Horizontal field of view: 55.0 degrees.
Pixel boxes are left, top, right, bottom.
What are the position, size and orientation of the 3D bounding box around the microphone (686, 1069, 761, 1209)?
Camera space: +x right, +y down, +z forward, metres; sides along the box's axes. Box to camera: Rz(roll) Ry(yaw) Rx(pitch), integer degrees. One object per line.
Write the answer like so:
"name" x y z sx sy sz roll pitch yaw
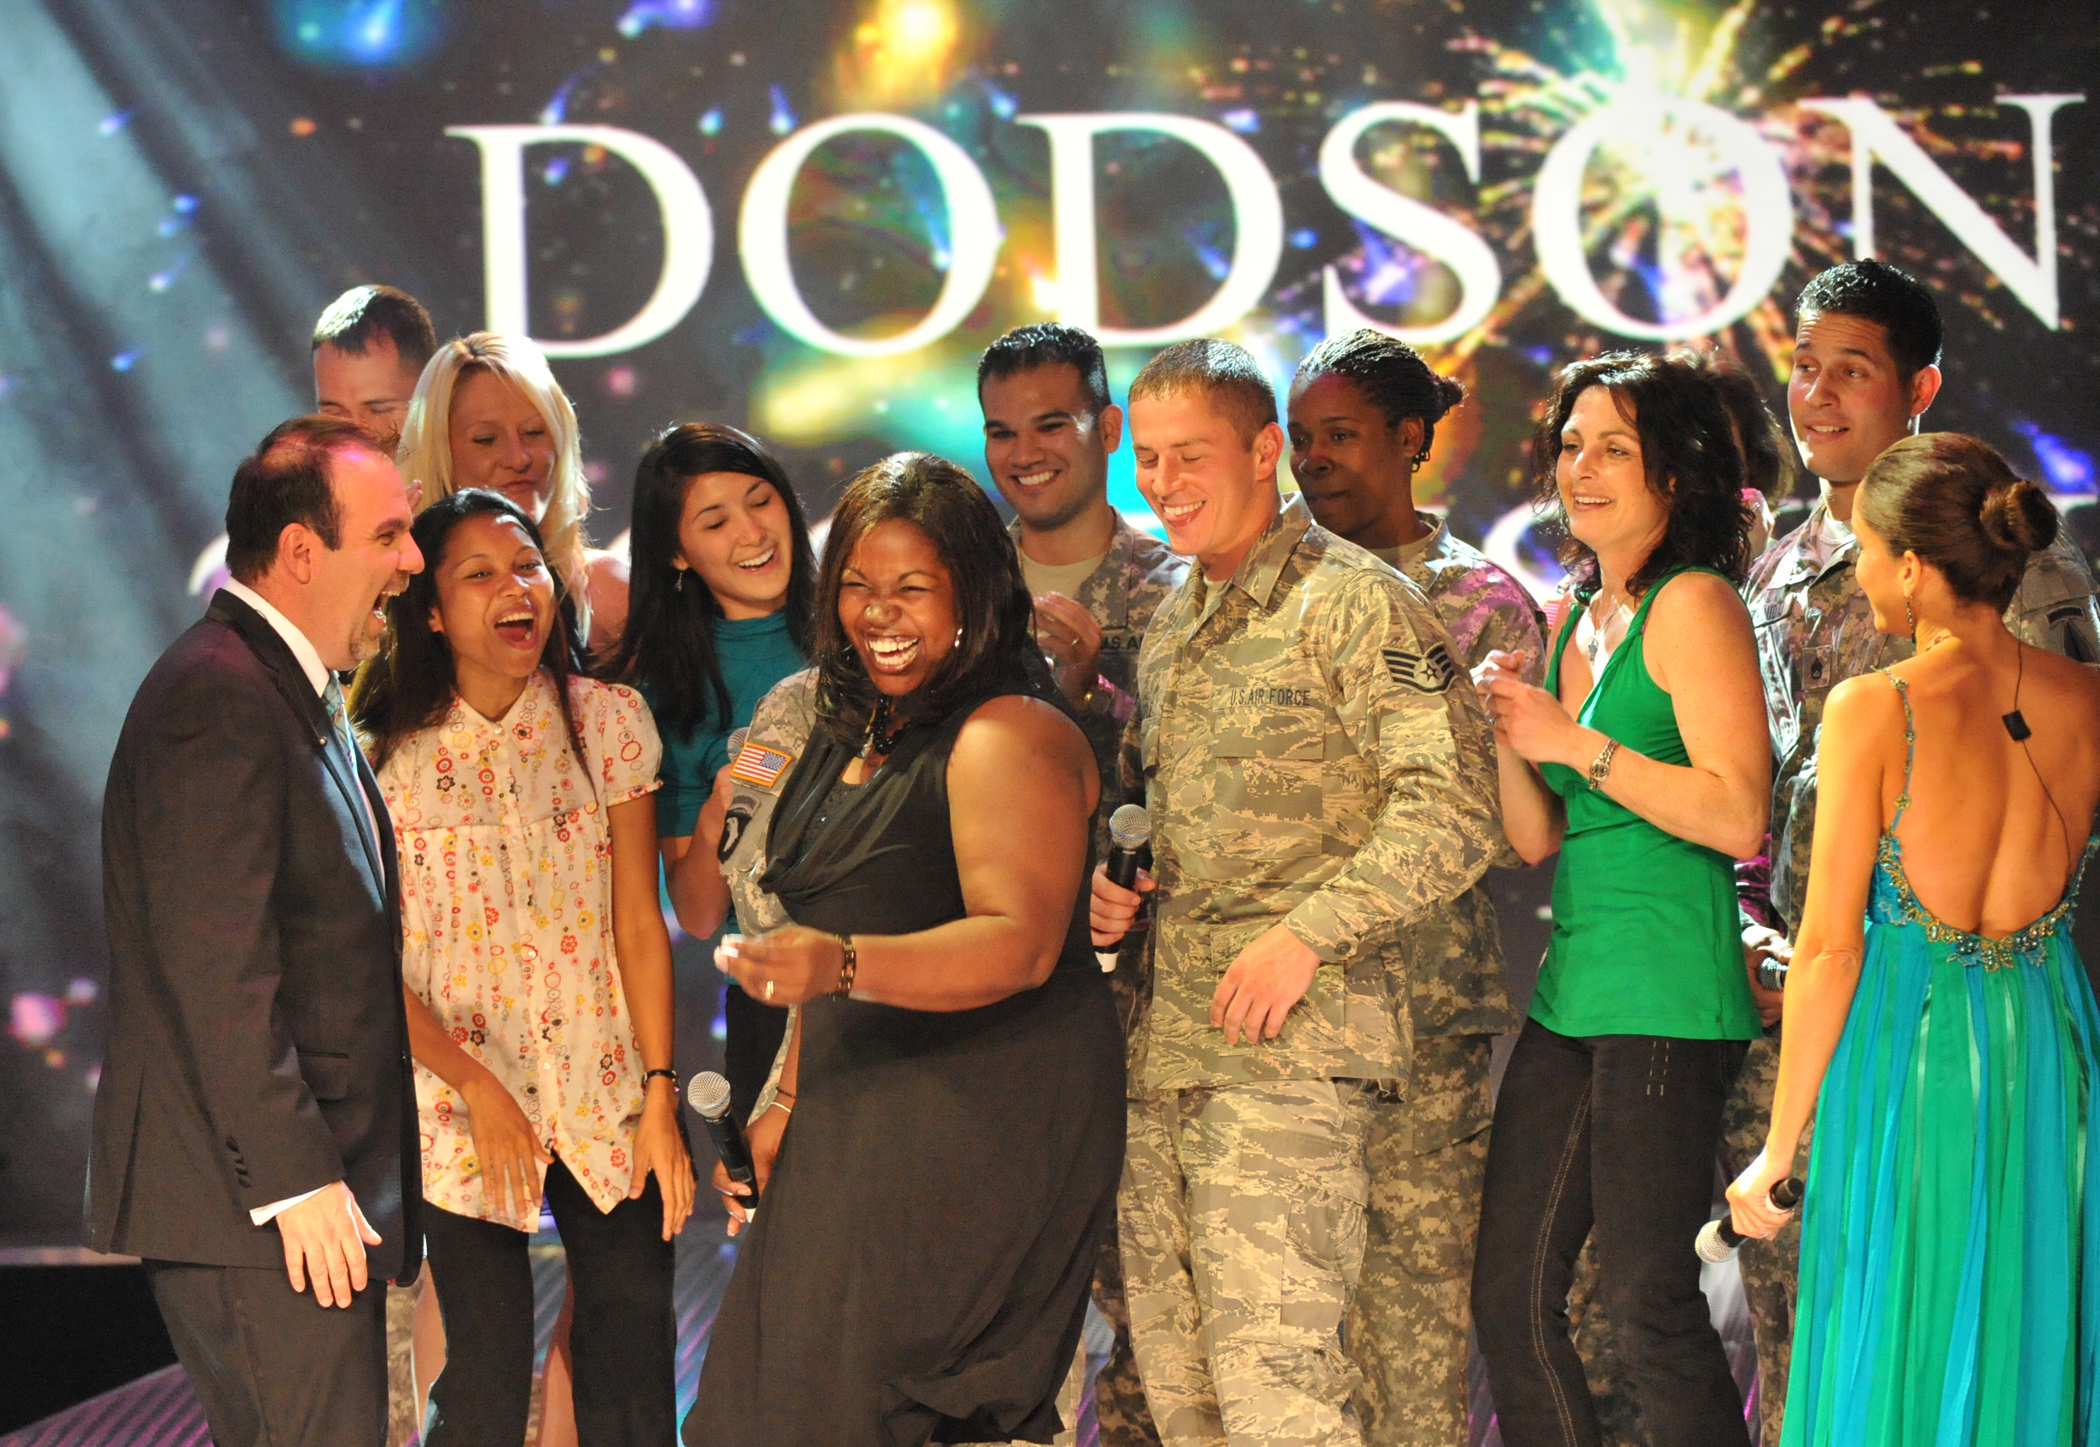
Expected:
"microphone" -0.647 0.844 4.052 0.135 0.267 0.431 3 -11 -7
